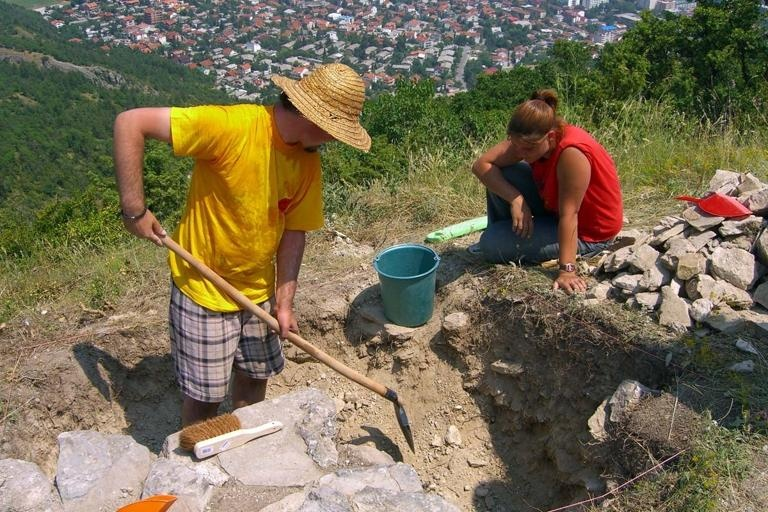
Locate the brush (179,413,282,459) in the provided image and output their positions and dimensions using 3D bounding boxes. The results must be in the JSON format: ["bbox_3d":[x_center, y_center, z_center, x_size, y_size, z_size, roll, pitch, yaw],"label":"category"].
[{"bbox_3d":[-1.344,1.546,6.163,0.906,0.310,0.258,-9,7,-31],"label":"brush"}]

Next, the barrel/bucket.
[{"bbox_3d":[0.335,0.311,7.258,0.735,0.824,0.833,-7,23,-14],"label":"barrel/bucket"}]

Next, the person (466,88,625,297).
[{"bbox_3d":[1.552,-0.596,6.590,1.411,1.814,0.678,15,32,18],"label":"person"}]

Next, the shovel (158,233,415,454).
[{"bbox_3d":[-0.700,0.787,6.259,3.305,1.088,0.130,35,55,-1],"label":"shovel"}]
